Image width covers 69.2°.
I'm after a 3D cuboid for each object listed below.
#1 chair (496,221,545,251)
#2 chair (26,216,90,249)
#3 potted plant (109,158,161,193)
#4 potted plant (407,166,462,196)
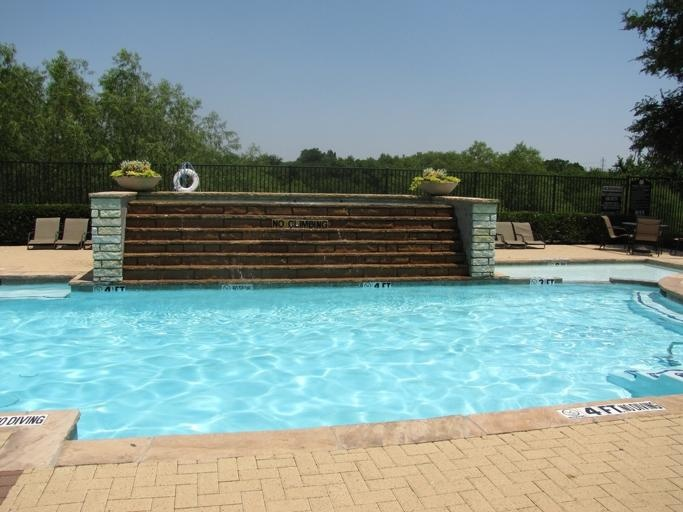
[{"bbox_3d":[6.011,-0.716,17.279,2.030,0.755,1.168,-1,3,-18],"label":"chair"},{"bbox_3d":[-8.619,-0.688,15.063,2.404,0.884,1.109,-1,4,-6],"label":"chair"},{"bbox_3d":[-5.109,-2.037,12.601,1.156,0.496,1.040,1,2,1],"label":"potted plant"},{"bbox_3d":[2.721,-2.190,14.752,1.166,0.807,1.431,1,13,-1],"label":"potted plant"}]
